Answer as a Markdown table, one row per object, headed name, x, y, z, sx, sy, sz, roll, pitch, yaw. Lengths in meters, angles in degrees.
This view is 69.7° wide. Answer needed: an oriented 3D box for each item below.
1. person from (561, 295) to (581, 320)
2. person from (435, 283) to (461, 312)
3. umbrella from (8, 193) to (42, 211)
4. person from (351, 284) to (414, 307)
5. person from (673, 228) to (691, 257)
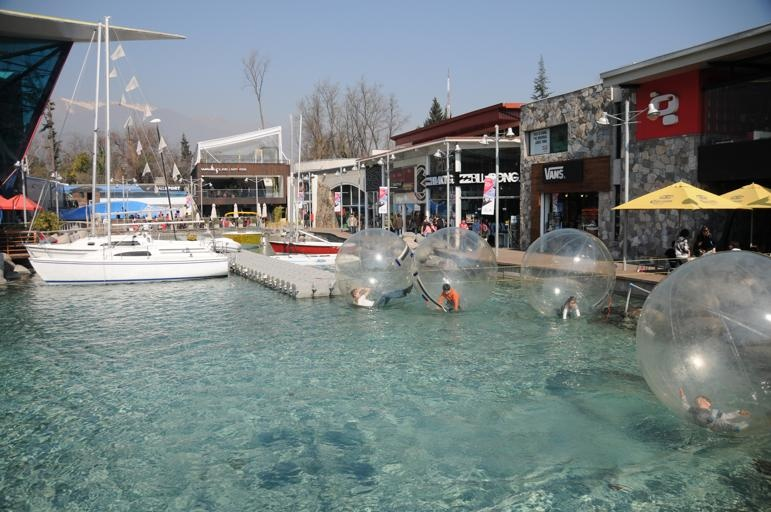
| name | x | y | z | sx | sy | sz | roll | pitch | yaw |
| --- | --- | --- | --- | --- | --- | --- | --- | --- | --- |
| person | 5.172 | 1.421 | 15.240 | 0.518 | 0.779 | 0.586 | 1 | 9 | 19 |
| person | 1.878 | 1.152 | 16.141 | 0.521 | 0.608 | 1.025 | -5 | -36 | 39 |
| umbrella | -24.377 | -3.592 | 37.100 | 3.027 | 1.009 | 3.155 | -4 | 5 | -24 |
| person | -0.218 | 1.300 | 17.547 | 1.130 | 0.489 | 1.092 | -3 | -2 | -27 |
| person | 10.800 | -0.516 | 19.857 | 0.495 | 0.954 | 1.763 | 3 | 10 | 29 |
